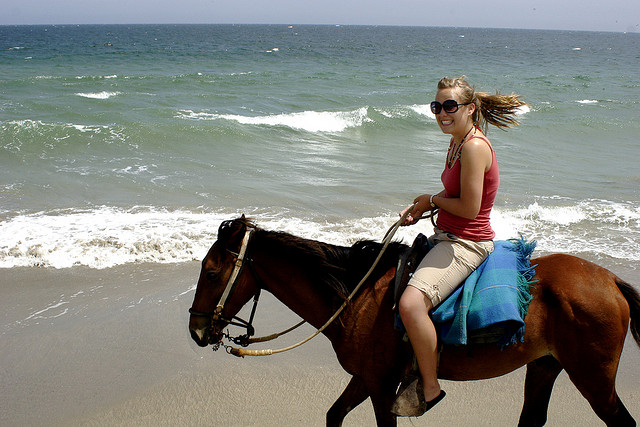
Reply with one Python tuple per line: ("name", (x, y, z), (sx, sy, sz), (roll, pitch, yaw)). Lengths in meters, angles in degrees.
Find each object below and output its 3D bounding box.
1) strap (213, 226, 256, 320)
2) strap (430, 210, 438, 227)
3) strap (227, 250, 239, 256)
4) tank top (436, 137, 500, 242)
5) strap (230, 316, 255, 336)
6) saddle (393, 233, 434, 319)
("strap", (-1.132, 0.736, 7.593), (0.174, 1.312, 0.228), (22, -14, 30))
("strap", (1.462, 0.044, 7.634), (0.036, 0.172, 0.170), (-13, 36, 14))
("strap", (-1.132, 0.504, 7.579), (0.108, 0.033, 0.028), (25, -3, 8))
("tank top", (1.905, -0.288, 7.447), (0.757, 1.354, 0.448), (7, 24, 14))
("strap", (-0.987, 1.449, 7.686), (0.232, 0.308, 0.121), (-27, 20, 42))
("saddle", (1.307, 0.787, 7.652), (0.367, 0.925, 0.696), (22, -7, -14))
